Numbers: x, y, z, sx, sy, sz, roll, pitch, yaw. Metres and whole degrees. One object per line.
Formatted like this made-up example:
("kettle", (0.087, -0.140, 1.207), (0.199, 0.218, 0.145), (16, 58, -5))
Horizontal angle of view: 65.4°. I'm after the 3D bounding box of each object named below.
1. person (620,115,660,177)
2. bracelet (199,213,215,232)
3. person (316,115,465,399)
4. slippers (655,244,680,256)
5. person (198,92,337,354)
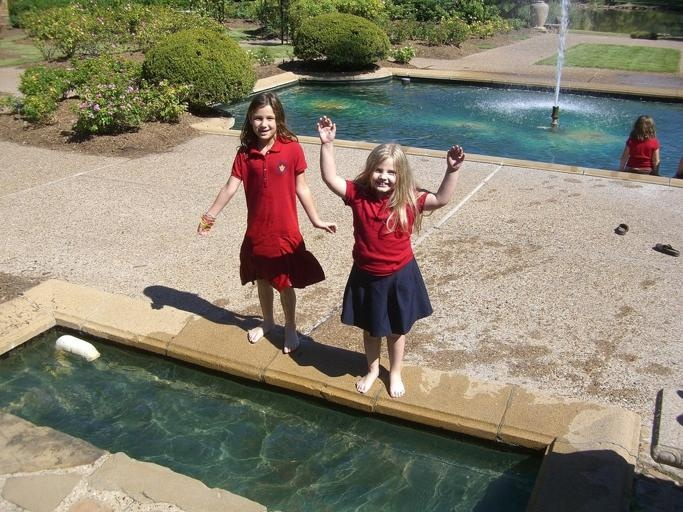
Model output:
("person", (4.184, -1.525, 7.344), (0.482, 0.844, 0.298), (10, 33, 21))
("bracelet", (-0.975, -0.237, 3.846), (0.125, 0.134, 0.070), (17, 2, -15))
("person", (0.316, 0.110, 3.487), (0.763, 1.689, 0.746), (-7, 30, -7))
("slippers", (3.291, -0.062, 5.389), (0.194, 0.063, 0.117), (18, 34, 32))
("person", (-0.478, -0.157, 3.787), (0.816, 1.864, 0.654), (19, 37, 33))
